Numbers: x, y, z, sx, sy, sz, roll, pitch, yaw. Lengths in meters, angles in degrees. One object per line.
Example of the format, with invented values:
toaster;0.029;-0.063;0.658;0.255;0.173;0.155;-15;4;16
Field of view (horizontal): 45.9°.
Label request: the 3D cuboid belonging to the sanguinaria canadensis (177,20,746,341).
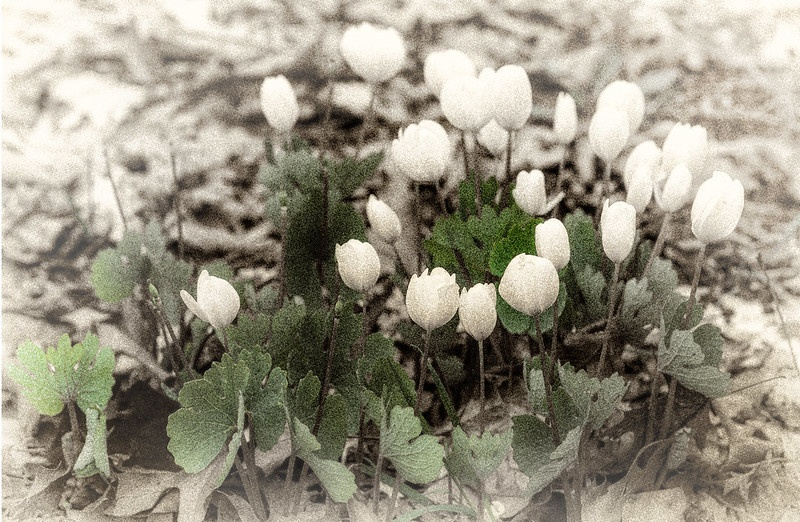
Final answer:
sanguinaria canadensis;0.081;-0.074;0.926;0.538;0.202;0.281;6;43;-2
